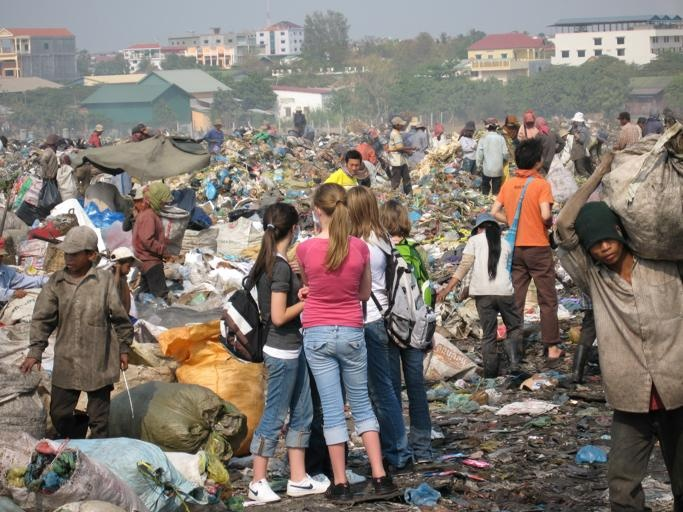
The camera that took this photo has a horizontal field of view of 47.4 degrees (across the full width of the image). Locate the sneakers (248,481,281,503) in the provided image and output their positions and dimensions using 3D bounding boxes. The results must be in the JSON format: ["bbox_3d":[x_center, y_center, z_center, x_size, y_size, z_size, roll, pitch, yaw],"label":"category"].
[{"bbox_3d":[-0.490,1.467,4.927,0.207,0.104,0.108,-1,0,44],"label":"sneakers"}]

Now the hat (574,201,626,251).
[{"bbox_3d":[1.335,-0.181,4.125,0.194,0.215,0.286,-38,-1,14],"label":"hat"}]

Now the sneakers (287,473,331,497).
[{"bbox_3d":[-0.221,1.438,4.995,0.315,0.140,0.120,-4,5,-15],"label":"sneakers"}]

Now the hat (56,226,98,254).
[{"bbox_3d":[-1.699,-0.118,5.011,0.160,0.134,0.221,9,11,39],"label":"hat"}]

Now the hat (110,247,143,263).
[{"bbox_3d":[-1.996,-0.016,7.269,0.245,0.131,0.180,-2,-1,-27],"label":"hat"}]

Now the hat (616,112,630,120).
[{"bbox_3d":[5.205,-2.614,14.520,0.197,0.150,0.259,-13,24,-40],"label":"hat"}]
